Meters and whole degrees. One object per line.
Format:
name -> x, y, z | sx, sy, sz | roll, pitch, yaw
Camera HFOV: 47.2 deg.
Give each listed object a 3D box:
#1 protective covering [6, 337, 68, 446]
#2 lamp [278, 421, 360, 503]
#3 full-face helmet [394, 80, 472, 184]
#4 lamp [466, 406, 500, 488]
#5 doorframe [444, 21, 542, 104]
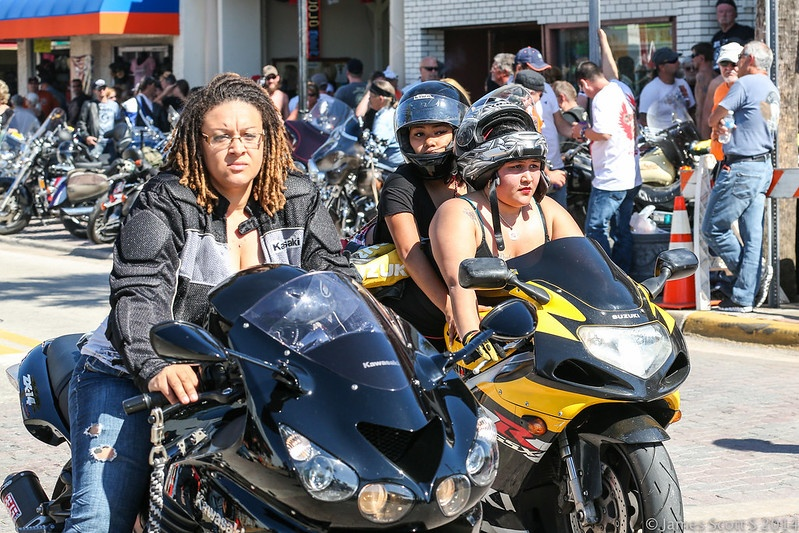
protective covering -> -1.674, 0.585, 4.411 | 0.277, 0.314, 0.550 | -29, 19, -26
lamp -> -0.279, 0.661, 3.125 | 0.262, 0.161, 0.065 | 42, 7, 3
full-face helmet -> 0.194, -0.848, 5.632 | 0.445, 0.548, 0.570 | -11, 8, 13
lamp -> 0.298, 0.638, 3.280 | 0.098, 0.238, 0.304 | 1, 10, 8
doorframe -> 1.875, -4.398, 20.452 | 1.853, 1.779, 1.151 | 14, 16, 41
